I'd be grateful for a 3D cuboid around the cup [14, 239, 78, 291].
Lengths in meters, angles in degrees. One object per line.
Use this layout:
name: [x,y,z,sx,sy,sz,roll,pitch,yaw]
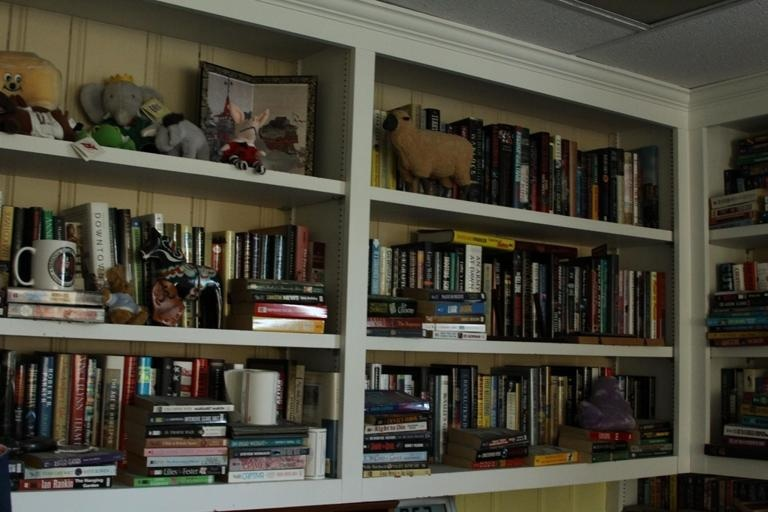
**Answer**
cup: [-1.092,0.027,3.499,0.191,0.161,0.079,0,-3,-19]
